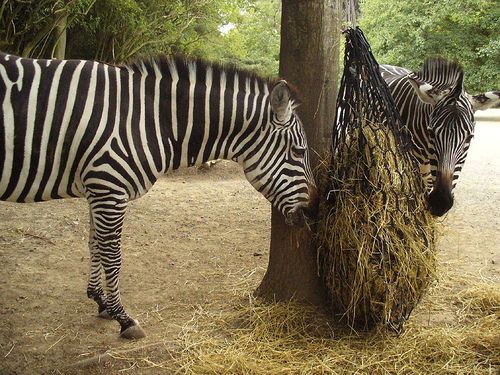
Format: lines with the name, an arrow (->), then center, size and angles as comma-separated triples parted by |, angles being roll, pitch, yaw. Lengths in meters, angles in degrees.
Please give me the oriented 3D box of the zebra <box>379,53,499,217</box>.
zebra -> 2.021, -0.639, 5.494 | 0.771, 1.478, 1.792 | 0, 15, 0
